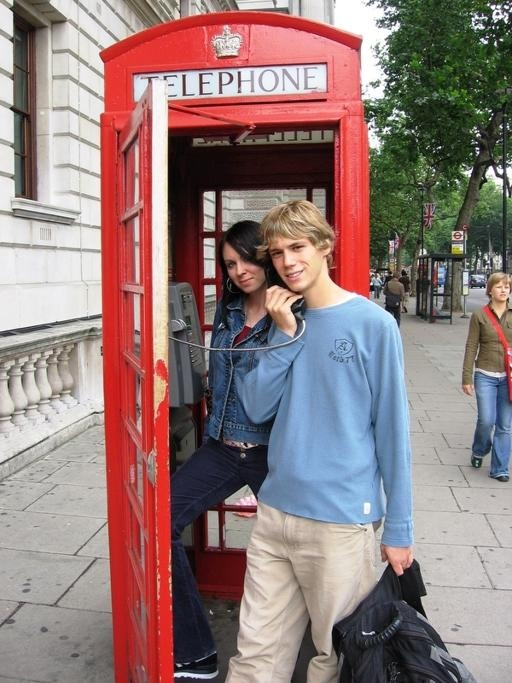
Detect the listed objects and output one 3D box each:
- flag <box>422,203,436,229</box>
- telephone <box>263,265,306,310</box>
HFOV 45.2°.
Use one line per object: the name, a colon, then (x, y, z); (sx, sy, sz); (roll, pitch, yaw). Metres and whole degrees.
flag: (8.845, -6.568, 31.827); (0.532, 1.371, 1.681); (2, 3, 14)
telephone: (0.072, -0.181, 2.142); (0.135, 0.187, 0.066); (-9, -11, -29)
